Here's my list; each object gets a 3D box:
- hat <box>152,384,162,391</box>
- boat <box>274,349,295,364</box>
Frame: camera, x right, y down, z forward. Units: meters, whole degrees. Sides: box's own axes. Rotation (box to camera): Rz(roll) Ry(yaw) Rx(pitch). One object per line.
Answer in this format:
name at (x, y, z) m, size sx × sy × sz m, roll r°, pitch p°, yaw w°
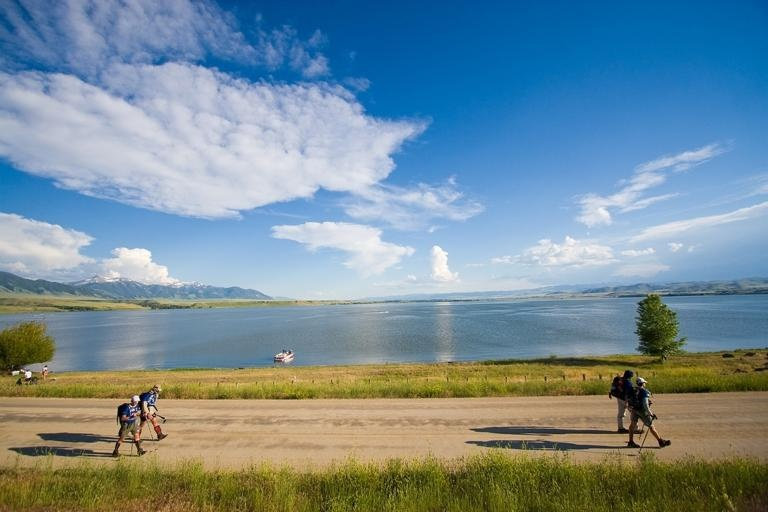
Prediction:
hat at (-14.678, 8.542, 32.028) m, size 0.622 × 0.499 × 0.443 m, roll -7°, pitch -8°, yaw -23°
boat at (-18.582, 19.006, 93.405) m, size 2.038 × 1.800 × 6.099 m, roll 1°, pitch -6°, yaw 4°
